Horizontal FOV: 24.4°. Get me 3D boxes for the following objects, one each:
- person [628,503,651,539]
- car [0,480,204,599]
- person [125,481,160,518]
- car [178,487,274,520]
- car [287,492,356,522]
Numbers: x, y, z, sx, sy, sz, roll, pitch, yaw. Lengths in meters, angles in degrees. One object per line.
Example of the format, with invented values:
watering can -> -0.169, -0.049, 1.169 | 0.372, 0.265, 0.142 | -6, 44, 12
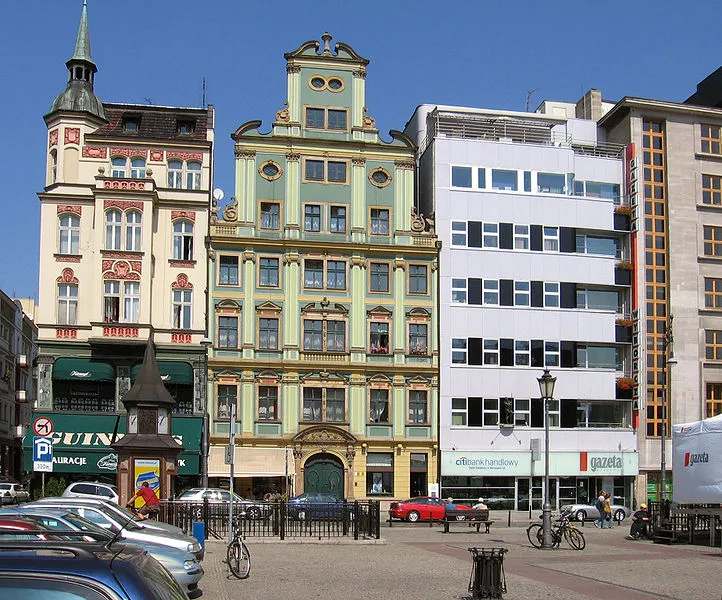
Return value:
person -> 12.845, 10.217, 76.514 | 0.952, 1.606, 1.482 | -2, -11, 8
car -> -8.319, 9.005, 59.647 | 7.393, 2.497, 3.407 | 0, -4, 0
person -> -8.959, 8.263, 67.511 | 1.165, 2.005, 1.330 | 12, -21, -43
car -> -5.992, 9.114, 73.642 | 4.212, 1.472, 1.930 | 0, -8, -6
car -> -1.761, 9.197, 72.712 | 3.224, 1.044, 1.489 | 0, 0, -8
